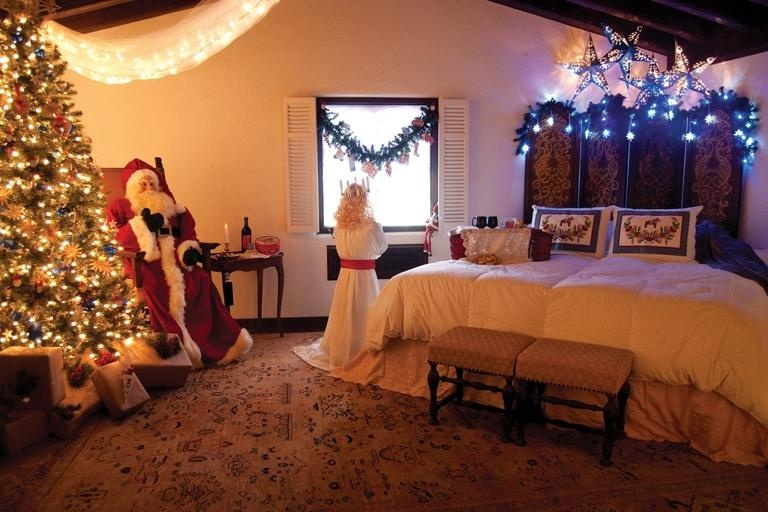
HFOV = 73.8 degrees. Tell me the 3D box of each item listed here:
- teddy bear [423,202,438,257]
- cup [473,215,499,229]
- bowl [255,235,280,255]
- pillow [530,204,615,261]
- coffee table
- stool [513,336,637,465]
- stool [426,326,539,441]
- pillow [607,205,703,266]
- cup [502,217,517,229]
[{"bbox_3d":[0.585,-0.337,6.208,0.167,0.615,0.140,3,15,-2],"label":"teddy bear"},{"bbox_3d":[1.062,-0.351,5.388,0.209,0.088,0.135,-2,0,19],"label":"cup"},{"bbox_3d":[-1.332,-0.133,5.921,0.212,0.139,0.229,1,8,0],"label":"bowl"},{"bbox_3d":[2.001,-0.224,5.386,0.599,0.397,0.102,5,0,33],"label":"pillow"},{"bbox_3d":[-1.529,0.423,5.811,0.937,1.353,1.086,-2,6,-21],"label":"coffee table"},{"bbox_3d":[1.481,0.888,3.942,0.949,0.801,0.795,4,11,28],"label":"stool"},{"bbox_3d":[0.846,0.918,4.216,0.797,0.678,0.818,3,7,31],"label":"stool"},{"bbox_3d":[2.707,-0.225,5.173,0.824,0.605,0.197,5,-12,28],"label":"pillow"},{"bbox_3d":[1.350,-0.344,5.502,0.177,0.082,0.228,-2,14,-2],"label":"cup"}]
